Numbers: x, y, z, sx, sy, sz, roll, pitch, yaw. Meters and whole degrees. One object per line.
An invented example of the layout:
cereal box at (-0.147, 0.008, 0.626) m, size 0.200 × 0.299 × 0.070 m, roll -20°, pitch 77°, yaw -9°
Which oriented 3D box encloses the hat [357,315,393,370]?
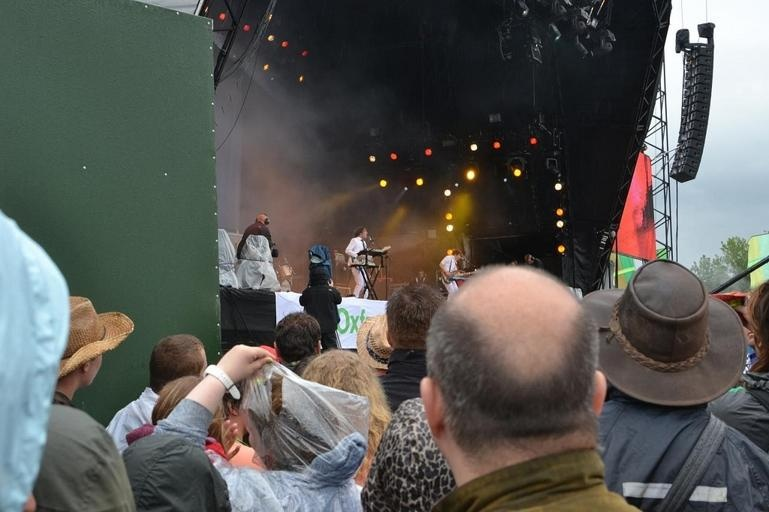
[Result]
hat at (-0.067, 0.658, 5.452) m, size 0.124 × 0.401 × 0.417 m, roll -10°, pitch -8°, yaw 4°

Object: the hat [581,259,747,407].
hat at (1.414, 0.281, 3.742) m, size 0.757 × 0.409 × 0.935 m, roll 5°, pitch 43°, yaw 17°

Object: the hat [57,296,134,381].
hat at (-1.822, 0.410, 4.417) m, size 0.533 × 0.228 × 0.548 m, roll -3°, pitch 23°, yaw -12°
